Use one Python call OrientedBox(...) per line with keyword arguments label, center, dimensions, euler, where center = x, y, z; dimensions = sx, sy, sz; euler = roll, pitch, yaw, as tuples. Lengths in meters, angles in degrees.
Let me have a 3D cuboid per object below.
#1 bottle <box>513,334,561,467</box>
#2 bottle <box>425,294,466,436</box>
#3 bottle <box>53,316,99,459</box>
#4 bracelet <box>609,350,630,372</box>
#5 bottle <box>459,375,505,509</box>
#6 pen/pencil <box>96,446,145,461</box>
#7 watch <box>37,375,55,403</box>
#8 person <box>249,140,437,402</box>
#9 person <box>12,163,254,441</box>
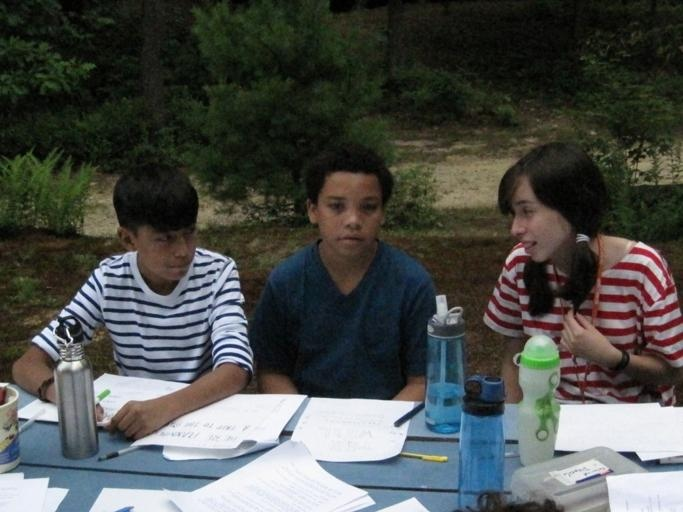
OrientedBox(label="bottle", center=(0.641, 0.466, 2.851), dimensions=(0.129, 0.428, 0.208), euler=(0, 9, 12))
OrientedBox(label="bottle", center=(0.355, 0.373, 3.000), dimensions=(0.141, 0.483, 0.129), euler=(-2, 9, 0))
OrientedBox(label="bottle", center=(-0.910, 0.441, 2.985), dimensions=(0.129, 0.478, 0.147), euler=(-4, 10, -12))
OrientedBox(label="bracelet", center=(1.069, 0.403, 3.372), dimensions=(0.073, 0.076, 0.069), euler=(-1, 25, -4))
OrientedBox(label="bottle", center=(0.437, 0.583, 2.750), dimensions=(0.148, 0.394, 0.160), euler=(-2, 9, 0))
OrientedBox(label="pen/pencil", center=(-0.750, 0.672, 2.980), dimensions=(0.137, 0.015, 0.015), euler=(-14, 29, -43))
OrientedBox(label="watch", center=(-1.082, 0.484, 3.200), dimensions=(0.071, 0.083, 0.029), euler=(-5, 12, -44))
OrientedBox(label="person", center=(-0.006, 0.112, 3.495), dimensions=(0.791, 1.079, 0.766), euler=(3, 18, 7))
OrientedBox(label="person", center=(-0.825, 0.271, 3.450), dimensions=(0.921, 1.204, 1.072), euler=(-6, 19, -15))
